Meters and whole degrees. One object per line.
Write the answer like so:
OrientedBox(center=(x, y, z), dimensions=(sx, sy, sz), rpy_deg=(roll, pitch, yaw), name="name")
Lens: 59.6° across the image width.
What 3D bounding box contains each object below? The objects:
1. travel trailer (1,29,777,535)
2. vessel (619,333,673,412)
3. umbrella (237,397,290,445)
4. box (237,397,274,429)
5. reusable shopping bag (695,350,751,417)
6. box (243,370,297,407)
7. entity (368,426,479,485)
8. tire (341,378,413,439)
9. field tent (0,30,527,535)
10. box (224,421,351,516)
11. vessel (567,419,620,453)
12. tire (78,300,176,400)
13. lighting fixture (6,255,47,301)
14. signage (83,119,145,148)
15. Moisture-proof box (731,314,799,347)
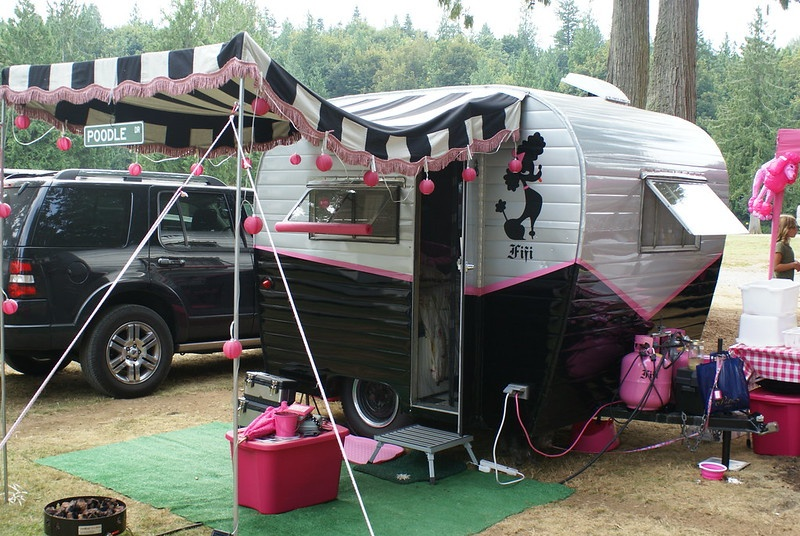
OrientedBox(center=(-0.087, -0.217, 7.160), dimensions=(5.427, 2.803, 4.847), rpy_deg=(1, 3, 35), name="travel trailer")
OrientedBox(center=(2.507, 1.085, 7.084), dimensions=(0.534, 0.820, 0.548), rpy_deg=(5, -8, 6), name="vessel")
OrientedBox(center=(-1.184, 1.317, 6.023), dimensions=(0.352, 0.116, 0.266), rpy_deg=(-18, 10, -29), name="umbrella")
OrientedBox(center=(-1.367, 1.326, 6.558), dimensions=(0.295, 0.250, 0.388), rpy_deg=(1, 0, -42), name="box")
OrientedBox(center=(3.109, 1.094, 6.762), dimensions=(0.579, 0.549, 0.218), rpy_deg=(-5, 2, -17), name="reusable shopping bag")
OrientedBox(center=(-1.227, 1.158, 6.634), dimensions=(0.487, 0.240, 0.346), rpy_deg=(7, -5, 34), name="box")
OrientedBox(center=(0.256, 1.742, 6.741), dimensions=(0.687, 0.278, 0.836), rpy_deg=(24, -32, -24), name="entity")
OrientedBox(center=(-0.232, 1.392, 7.420), dimensions=(0.814, 0.807, 0.274), rpy_deg=(-1, 6, 15), name="tire")
OrientedBox(center=(-1.323, 0.076, 6.302), dimensions=(4.342, 3.768, 2.277), rpy_deg=(1, 4, 10), name="field tent")
OrientedBox(center=(-0.982, 1.757, 6.086), dimensions=(0.956, 0.595, 0.659), rpy_deg=(-3, 2, -40), name="box")
OrientedBox(center=(1.998, 1.747, 7.224), dimensions=(0.384, 0.219, 0.388), rpy_deg=(1, 4, 38), name="vessel")
OrientedBox(center=(-3.380, 0.987, 8.613), dimensions=(1.163, 1.188, 0.427), rpy_deg=(-17, 11, -36), name="tire")
OrientedBox(center=(-4.338, 0.140, 8.027), dimensions=(0.412, 0.706, 0.426), rpy_deg=(-1, 1, -12), name="lighting fixture")
OrientedBox(center=(-2.391, -1.137, 5.909), dimensions=(0.802, 0.212, 0.354), rpy_deg=(3, 5, 34), name="signage")
OrientedBox(center=(3.736, 0.623, 7.190), dimensions=(0.354, 0.232, 0.454), rpy_deg=(0, 2, 38), name="Moisture-proof box")
